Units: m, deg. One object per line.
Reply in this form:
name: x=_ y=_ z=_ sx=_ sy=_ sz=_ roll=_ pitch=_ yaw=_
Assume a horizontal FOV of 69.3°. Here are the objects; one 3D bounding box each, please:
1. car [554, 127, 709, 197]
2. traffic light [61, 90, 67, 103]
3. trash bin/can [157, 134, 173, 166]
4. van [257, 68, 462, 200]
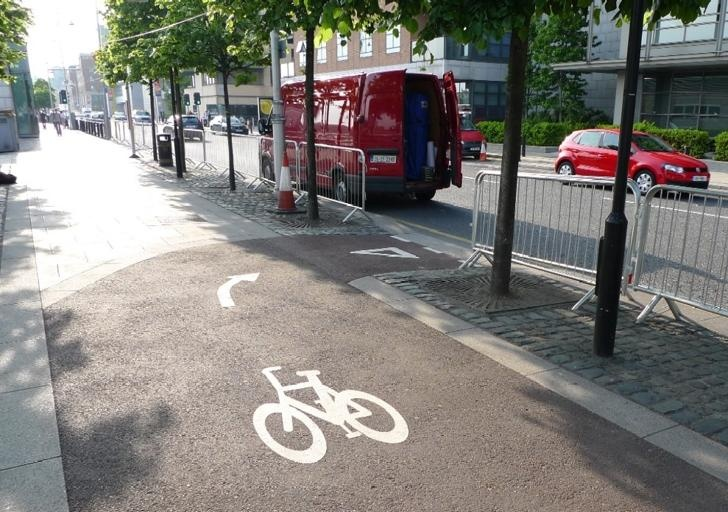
car: x=8.194 y=-3.023 z=16.307 sx=1.842 sy=1.700 sz=3.911 roll=-10 pitch=19 yaw=-28
traffic light: x=-32.699 y=-17.279 z=57.352 sx=0.568 sy=1.200 sz=1.773 roll=-11 pitch=20 yaw=-29
trash bin/can: x=-8.216 y=-4.345 z=21.750 sx=0.570 sy=1.235 sz=0.995 roll=-7 pitch=18 yaw=-20
van: x=-0.429 y=-3.343 z=14.026 sx=3.025 sy=2.599 sz=5.431 roll=-14 pitch=24 yaw=-37
